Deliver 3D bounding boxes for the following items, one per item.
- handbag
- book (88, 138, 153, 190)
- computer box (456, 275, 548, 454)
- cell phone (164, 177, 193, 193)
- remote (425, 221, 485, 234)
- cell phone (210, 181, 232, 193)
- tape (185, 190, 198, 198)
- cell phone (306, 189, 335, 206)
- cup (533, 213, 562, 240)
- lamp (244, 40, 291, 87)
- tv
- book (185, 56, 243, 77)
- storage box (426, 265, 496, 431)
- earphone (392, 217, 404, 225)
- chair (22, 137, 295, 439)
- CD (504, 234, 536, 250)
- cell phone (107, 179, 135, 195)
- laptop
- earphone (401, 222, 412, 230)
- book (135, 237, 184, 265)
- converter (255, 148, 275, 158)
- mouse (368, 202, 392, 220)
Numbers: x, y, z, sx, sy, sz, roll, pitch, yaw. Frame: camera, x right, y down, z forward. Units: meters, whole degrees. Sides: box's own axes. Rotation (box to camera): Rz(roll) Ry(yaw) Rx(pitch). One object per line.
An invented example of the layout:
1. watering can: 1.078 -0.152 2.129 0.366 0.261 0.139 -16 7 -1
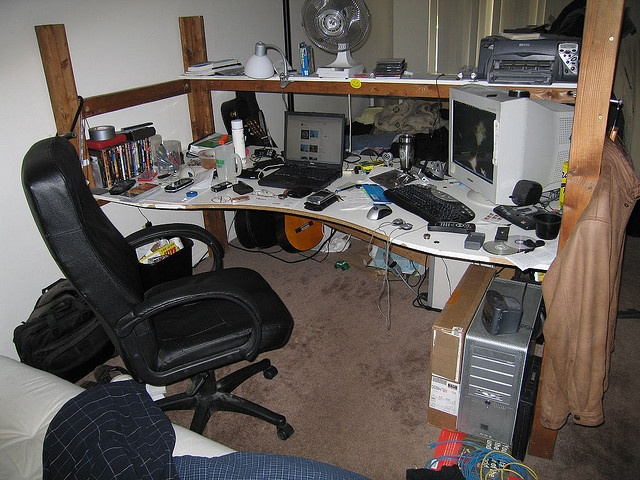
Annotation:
1. handbag: -1.451 0.456 2.624 0.244 0.415 0.422 26 63 -5
2. book: -1.184 -0.448 2.864 0.205 0.241 0.356 7 26 26
3. computer box: 0.843 0.564 2.245 0.316 0.691 0.446 9 27 26
4. cell phone: -0.831 -0.331 2.881 0.079 0.034 0.144 17 37 37
5. remote: 0.623 -0.061 2.302 0.183 0.046 0.084 1 12 8
6. cell phone: -0.587 -0.320 2.881 0.099 0.025 0.060 -25 39 -38
7. tape: -0.738 -0.267 2.805 0.046 0.020 0.046 -20 33 -39
8. cell phone: 0.012 -0.244 2.676 0.088 0.027 0.116 10 26 34
9. cup: 1.030 -0.071 2.218 0.103 0.102 0.104 -3 24 1
10. lamp: -0.330 -1.094 3.064 0.293 0.262 0.186 4 40 -9
11. tv: 1.018 -0.508 2.592 0.463 0.595 0.617 -6 23 -5
12. book: -0.704 -1.196 3.358 0.236 0.056 0.245 23 38 33
13. storage box: 0.662 0.518 2.257 0.184 0.547 0.632 10 25 24
14. earphone: 0.388 -0.092 2.413 0.057 0.014 0.067 -1 24 6
15. chair: -0.653 0.258 2.243 0.997 1.392 0.818 -11 25 -27
16. CD: 0.899 0.007 2.174 0.080 0.020 0.078 0 32 8
17. cell phone: -1.132 -0.311 2.813 0.072 0.021 0.115 13 31 13
18. laptop: -0.118 -0.536 2.921 0.455 0.360 0.386 10 30 26
19. earphone: 0.422 -0.068 2.374 0.057 0.013 0.073 5 25 18
20. book: -0.961 0.056 2.941 0.211 0.140 0.062 -30 78 -34
21. converter: -0.374 -0.602 3.336 0.126 0.050 0.075 7 28 11
22. mouse: 0.309 -0.145 2.484 0.149 0.052 0.070 -24 31 -38
